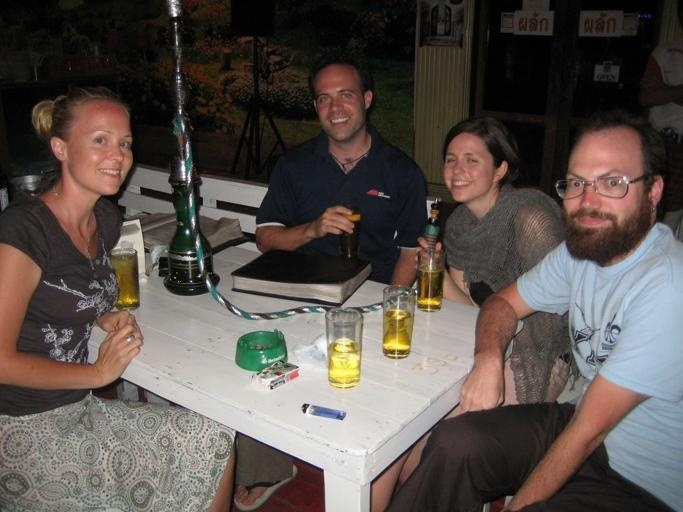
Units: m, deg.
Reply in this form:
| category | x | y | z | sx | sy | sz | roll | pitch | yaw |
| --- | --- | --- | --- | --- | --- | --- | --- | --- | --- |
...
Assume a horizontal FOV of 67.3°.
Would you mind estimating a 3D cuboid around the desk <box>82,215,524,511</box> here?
| category | x | y | z | sx | sy | sz | roll | pitch | yaw |
| --- | --- | --- | --- | --- | --- | --- | --- | --- | --- |
| desk | -0.073 | 0.359 | 1.731 | 0.985 | 0.494 | 0.639 | 13 | 23 | 26 |

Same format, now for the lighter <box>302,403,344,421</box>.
| category | x | y | z | sx | sy | sz | roll | pitch | yaw |
| --- | --- | --- | --- | --- | --- | --- | --- | --- | --- |
| lighter | -0.052 | 0.448 | 1.470 | 0.099 | 0.011 | 0.034 | 10 | 31 | 15 |
